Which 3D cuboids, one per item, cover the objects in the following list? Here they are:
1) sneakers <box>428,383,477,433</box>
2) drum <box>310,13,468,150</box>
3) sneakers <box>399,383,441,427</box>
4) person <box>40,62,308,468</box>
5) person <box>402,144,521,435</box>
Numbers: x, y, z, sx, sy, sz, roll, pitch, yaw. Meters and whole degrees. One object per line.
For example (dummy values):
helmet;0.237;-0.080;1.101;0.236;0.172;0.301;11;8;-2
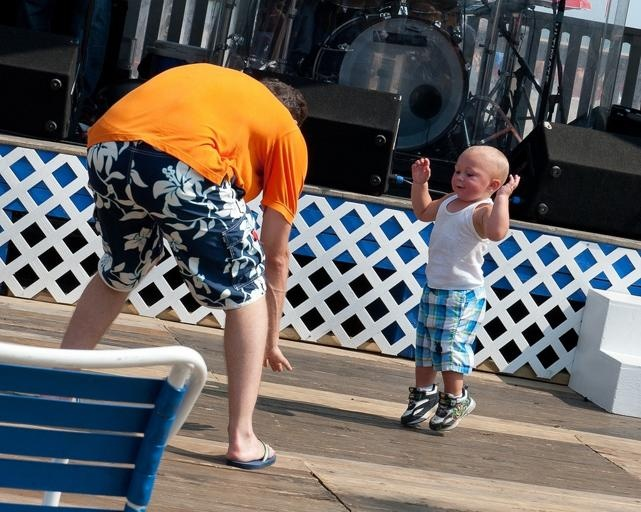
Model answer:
sneakers;0.509;0.605;3.632;0.247;0.132;0.091;-44;30;-21
drum;0.496;-1.120;5.716;0.935;0.769;0.492;-3;18;-2
sneakers;0.390;0.568;3.686;0.078;0.114;0.244;-4;16;45
person;-0.380;-0.012;3.180;0.750;1.313;0.835;14;7;33
person;0.482;0.106;3.696;0.441;1.083;0.376;13;12;21
